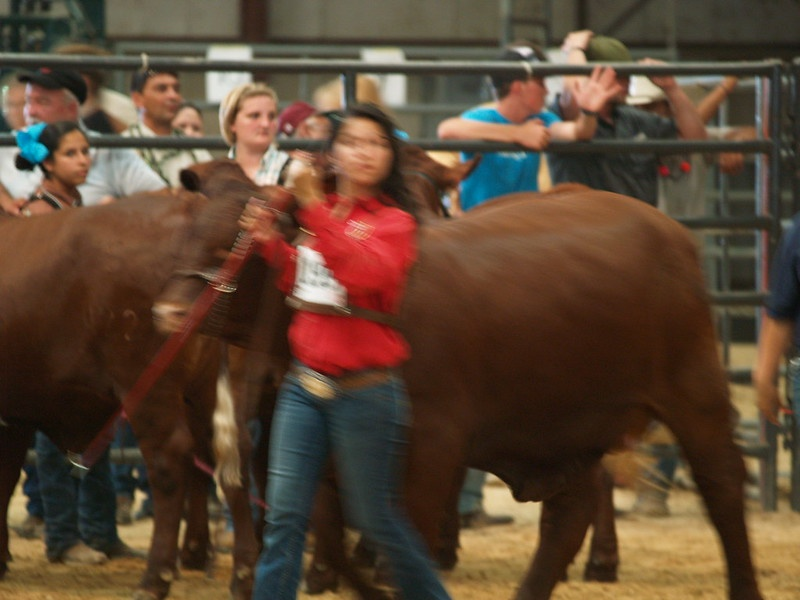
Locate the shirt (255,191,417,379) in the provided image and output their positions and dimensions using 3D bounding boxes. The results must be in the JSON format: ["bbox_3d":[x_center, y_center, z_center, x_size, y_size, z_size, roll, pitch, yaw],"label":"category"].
[{"bbox_3d":[-0.297,-0.075,7.033,0.680,0.817,0.756,9,-3,-42],"label":"shirt"}]

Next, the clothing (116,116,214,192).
[{"bbox_3d":[-1.338,-0.875,8.703,0.348,0.159,0.459,36,42,22],"label":"clothing"}]

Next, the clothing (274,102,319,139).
[{"bbox_3d":[-0.587,-1.110,8.768,0.227,0.241,0.185,31,53,27],"label":"clothing"}]

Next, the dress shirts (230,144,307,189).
[{"bbox_3d":[-0.700,-0.717,7.936,0.292,0.178,0.480,-7,10,17],"label":"dress shirts"}]

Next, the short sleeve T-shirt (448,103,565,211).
[{"bbox_3d":[0.623,-0.864,8.576,0.650,0.582,0.310,-12,44,-18],"label":"short sleeve T-shirt"}]

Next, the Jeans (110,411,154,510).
[{"bbox_3d":[-1.523,0.911,8.361,0.192,0.704,0.394,-9,-10,-1],"label":"Jeans"}]

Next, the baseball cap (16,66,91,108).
[{"bbox_3d":[-1.951,-1.204,8.373,0.277,0.132,0.182,16,-4,-35],"label":"baseball cap"}]
